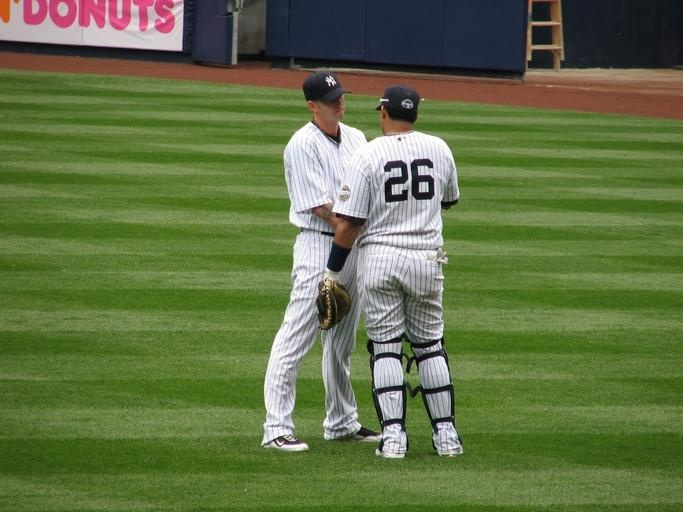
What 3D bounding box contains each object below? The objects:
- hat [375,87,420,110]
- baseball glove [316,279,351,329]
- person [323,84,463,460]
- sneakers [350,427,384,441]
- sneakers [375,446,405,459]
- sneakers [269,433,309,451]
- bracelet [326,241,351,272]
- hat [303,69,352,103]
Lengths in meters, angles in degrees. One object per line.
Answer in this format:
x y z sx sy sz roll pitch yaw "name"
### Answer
0.598 -1.718 20.769 0.446 0.271 0.321 3 11 0 "hat"
-0.106 0.502 20.831 0.305 0.530 0.453 -10 17 -36 "baseball glove"
0.595 0.146 20.708 1.574 3.898 0.828 4 12 3 "person"
0.275 1.956 21.016 0.298 0.113 0.144 -3 2 -3 "sneakers"
0.519 2.131 20.681 0.230 0.081 0.132 1 2 24 "sneakers"
-0.591 2.027 20.721 0.379 0.134 0.180 -2 -1 12 "sneakers"
-0.059 -0.005 20.693 0.212 0.278 0.178 22 10 -28 "bracelet"
-0.152 -1.848 20.858 0.449 0.254 0.316 -2 20 34 "hat"
